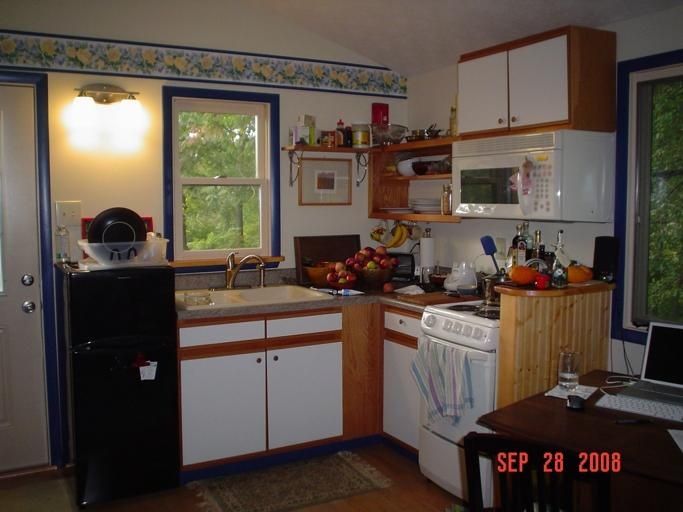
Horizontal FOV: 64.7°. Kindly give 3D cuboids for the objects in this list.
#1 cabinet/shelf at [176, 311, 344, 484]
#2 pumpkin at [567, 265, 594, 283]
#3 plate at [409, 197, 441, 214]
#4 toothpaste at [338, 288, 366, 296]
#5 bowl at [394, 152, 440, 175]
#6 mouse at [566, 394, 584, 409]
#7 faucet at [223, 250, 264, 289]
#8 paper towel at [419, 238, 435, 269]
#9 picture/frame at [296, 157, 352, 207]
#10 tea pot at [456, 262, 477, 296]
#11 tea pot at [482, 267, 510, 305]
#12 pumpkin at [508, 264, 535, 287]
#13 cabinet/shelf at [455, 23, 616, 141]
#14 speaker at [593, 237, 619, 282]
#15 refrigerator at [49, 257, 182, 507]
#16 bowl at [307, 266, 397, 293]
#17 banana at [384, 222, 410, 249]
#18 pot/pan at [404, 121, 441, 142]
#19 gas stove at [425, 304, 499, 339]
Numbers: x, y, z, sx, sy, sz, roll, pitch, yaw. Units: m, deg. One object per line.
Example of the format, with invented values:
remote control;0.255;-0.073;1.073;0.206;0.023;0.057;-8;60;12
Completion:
cabinet/shelf;-0.704;0.822;3.890;1.129;1.002;0.635;0;8;-31
pumpkin;1.410;0.097;3.186;0.111;0.056;0.138;5;6;37
plate;0.687;-0.399;4.313;0.164;0.114;0.380;-10;15;-43
toothpaste;0.064;0.274;3.997;0.189;0.018;0.231;-3;11;-15
bowl;0.628;-0.746;4.376;0.241;0.105;0.246;0;-2;0
mouse;1.095;0.685;2.527;0.062;0.046;0.055;-2;6;-10
faucet;-0.737;0.110;4.138;0.296;0.279;0.285;-2;11;-8
paper towel;0.692;-0.028;4.350;0.106;0.235;0.130;1;11;5
picture/frame;-0.135;-0.617;4.525;0.503;0.392;0.063;-6;12;-29
tea pot;0.934;0.167;3.871;0.173;0.232;0.231;-7;-6;2
tea pot;1.015;0.211;3.412;0.150;0.232;0.226;5;2;-16
pumpkin;1.030;0.107;3.053;0.114;0.086;0.113;-8;8;-40
cabinet/shelf;1.213;-1.074;3.448;0.978;0.631;0.385;9;14;39
speaker;1.597;0.018;3.250;0.138;0.265;0.111;5;12;27
refrigerator;-1.451;0.725;3.535;0.664;1.453;0.752;-1;3;-25
bowl;0.086;0.181;4.134;0.529;0.096;0.412;1;11;-27
banana;0.481;-0.176;4.610;0.184;0.230;0.078;16;2;43
pot/pan;0.638;-0.953;4.272;0.162;0.094;0.252;-3;1;-28
gas stove;0.707;0.391;3.253;0.466;0.171;0.423;-5;10;-32
